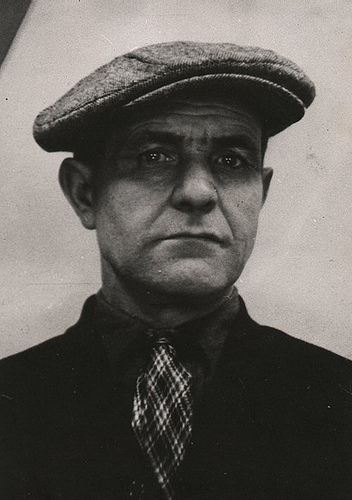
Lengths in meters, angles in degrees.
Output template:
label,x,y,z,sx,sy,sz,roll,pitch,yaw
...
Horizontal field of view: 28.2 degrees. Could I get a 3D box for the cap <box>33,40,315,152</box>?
label,x,y,z,sx,sy,sz,roll,pitch,yaw
cap,-0.021,-0.574,2.531,1.047,0.416,0.270,-6,54,-4
